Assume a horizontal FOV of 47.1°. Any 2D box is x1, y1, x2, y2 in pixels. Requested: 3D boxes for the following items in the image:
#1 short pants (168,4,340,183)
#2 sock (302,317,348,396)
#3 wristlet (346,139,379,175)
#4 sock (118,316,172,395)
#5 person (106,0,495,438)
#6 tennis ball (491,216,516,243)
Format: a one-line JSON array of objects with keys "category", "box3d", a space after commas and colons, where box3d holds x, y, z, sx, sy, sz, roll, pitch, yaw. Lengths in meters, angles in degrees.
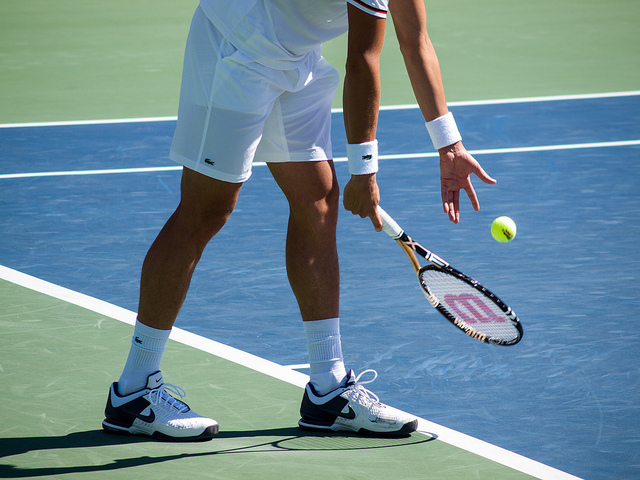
[{"category": "short pants", "box3d": [-0.246, -0.591, 3.123, 0.695, 0.642, 0.473, 6, 28, -13]}, {"category": "sock", "box3d": [0.033, 0.508, 3.256, 0.165, 0.309, 0.247, -3, 31, -30]}, {"category": "wristlet", "box3d": [0.170, -0.336, 2.953, 0.154, 0.125, 0.141, 0, 5, 38]}, {"category": "sock", "box3d": [-0.766, 0.513, 3.142, 0.149, 0.305, 0.152, 16, 28, 3]}, {"category": "person", "box3d": [-0.110, -0.095, 3.229, 1.231, 1.945, 1.097, 11, 27, -6]}, {"category": "tennis ball", "box3d": [1.112, -0.079, 4.565, 0.181, 0.168, 0.160, -7, 17, -5]}]
